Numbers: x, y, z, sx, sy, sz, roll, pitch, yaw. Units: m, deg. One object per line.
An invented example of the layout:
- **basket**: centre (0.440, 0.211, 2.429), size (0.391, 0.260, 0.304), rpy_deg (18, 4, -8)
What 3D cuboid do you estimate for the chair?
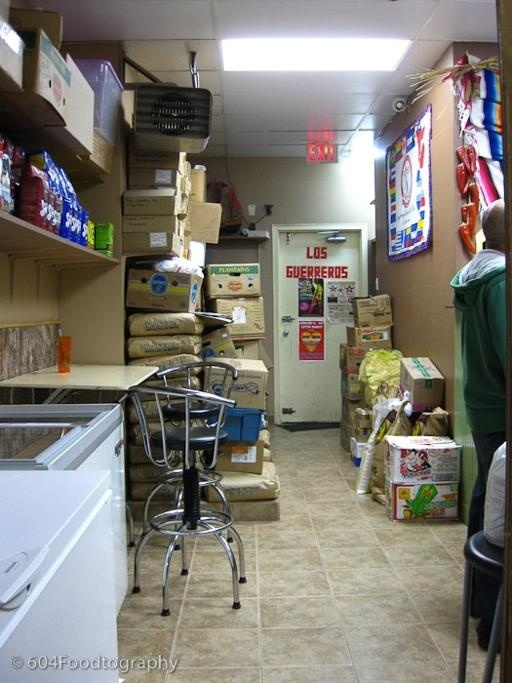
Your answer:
- **chair**: centre (-0.319, 0.615, 2.613), size (0.548, 1.004, 1.366), rpy_deg (-1, 3, -9)
